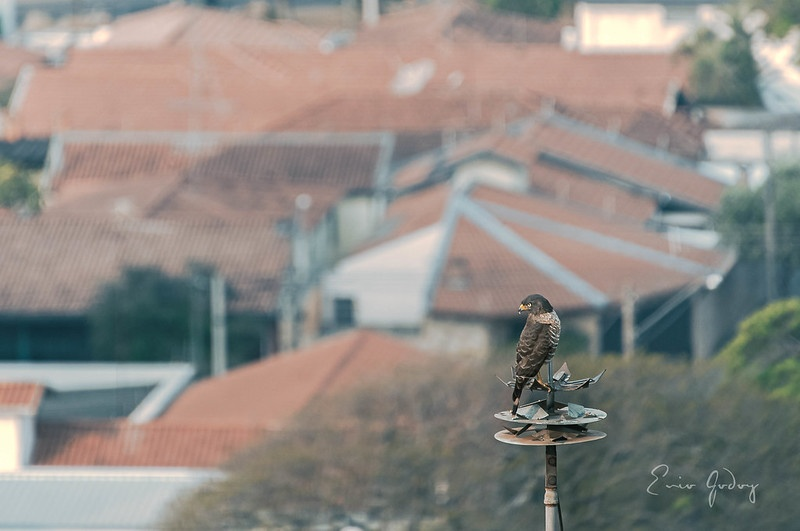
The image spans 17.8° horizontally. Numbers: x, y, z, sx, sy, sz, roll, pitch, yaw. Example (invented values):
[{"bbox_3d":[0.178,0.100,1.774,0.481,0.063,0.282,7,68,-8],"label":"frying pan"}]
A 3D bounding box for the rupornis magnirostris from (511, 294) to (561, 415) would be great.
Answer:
[{"bbox_3d":[1.017,0.717,19.346,0.360,0.860,0.633,3,29,10],"label":"rupornis magnirostris"}]

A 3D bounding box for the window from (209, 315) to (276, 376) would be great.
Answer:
[{"bbox_3d":[-1.201,0.609,20.151,0.526,0.301,0.451,1,56,1],"label":"window"}]
